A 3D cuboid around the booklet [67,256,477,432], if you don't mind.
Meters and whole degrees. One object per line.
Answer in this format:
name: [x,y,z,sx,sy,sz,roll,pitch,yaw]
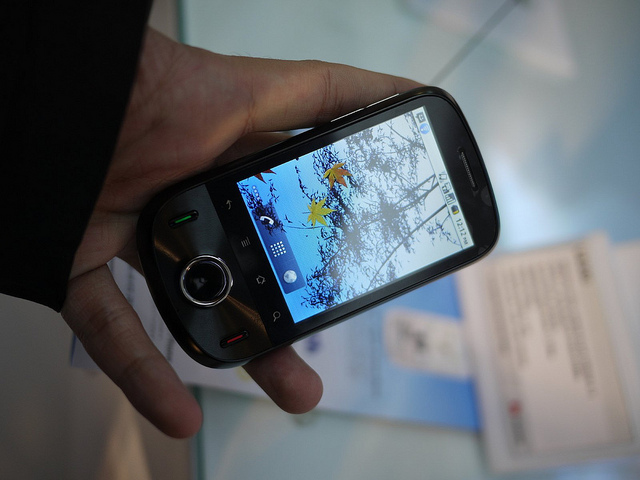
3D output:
booklet: [-0.043,0.162,0.911,0.612,0.012,0.303,9,91,7]
